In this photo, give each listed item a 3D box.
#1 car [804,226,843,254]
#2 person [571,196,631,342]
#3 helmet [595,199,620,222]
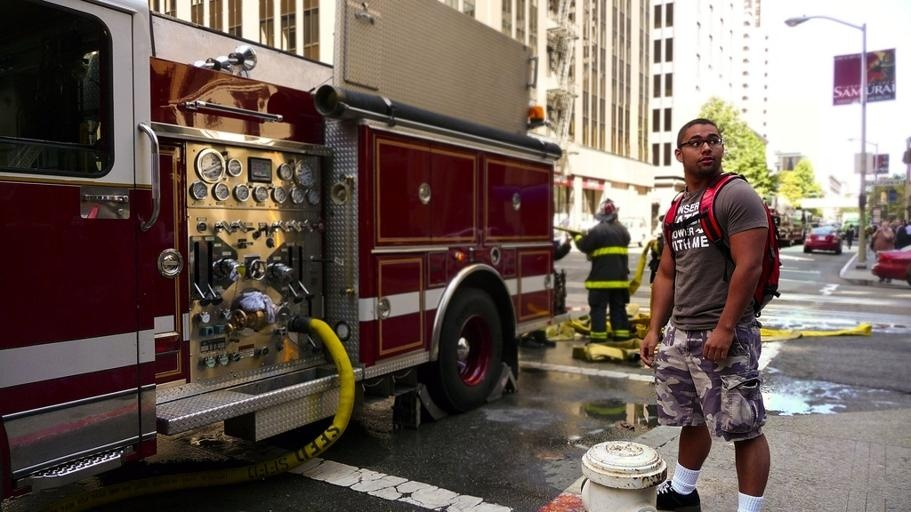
[{"bbox_3d":[19.719,-0.790,36.763,1.138,0.914,2.820,1,4,33],"label":"car"},{"bbox_3d":[2.362,0.247,10.914,0.803,2.228,0.833,3,10,21],"label":"person"},{"bbox_3d":[2.424,-0.729,11.159,0.362,0.366,0.344,5,5,25],"label":"helmet"}]
